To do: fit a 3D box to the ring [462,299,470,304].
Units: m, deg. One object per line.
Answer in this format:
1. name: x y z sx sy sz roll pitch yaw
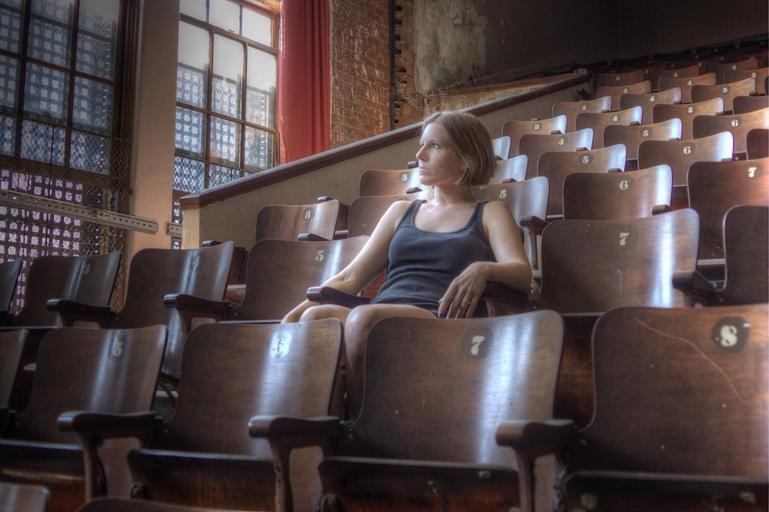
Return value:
1. ring: 0.237 0.131 1.874 0.014 0.011 0.014 0 -6 0
